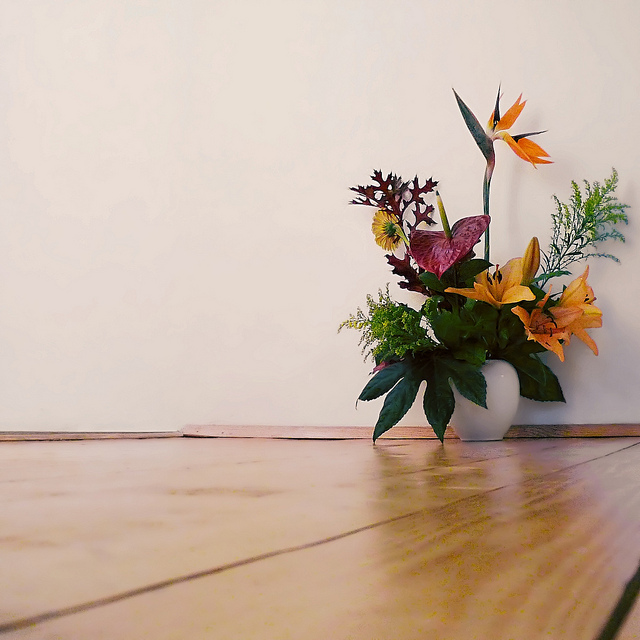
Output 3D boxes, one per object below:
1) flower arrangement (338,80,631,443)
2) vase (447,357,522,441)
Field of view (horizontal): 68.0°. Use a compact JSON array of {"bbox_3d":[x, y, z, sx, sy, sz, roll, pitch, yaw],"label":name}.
[{"bbox_3d":[0.380,-0.155,1.040,0.646,0.761,0.449,-2,-4,2],"label":"flower arrangement"},{"bbox_3d":[0.334,0.174,1.076,0.173,0.161,0.183,0,-7,0],"label":"vase"}]
